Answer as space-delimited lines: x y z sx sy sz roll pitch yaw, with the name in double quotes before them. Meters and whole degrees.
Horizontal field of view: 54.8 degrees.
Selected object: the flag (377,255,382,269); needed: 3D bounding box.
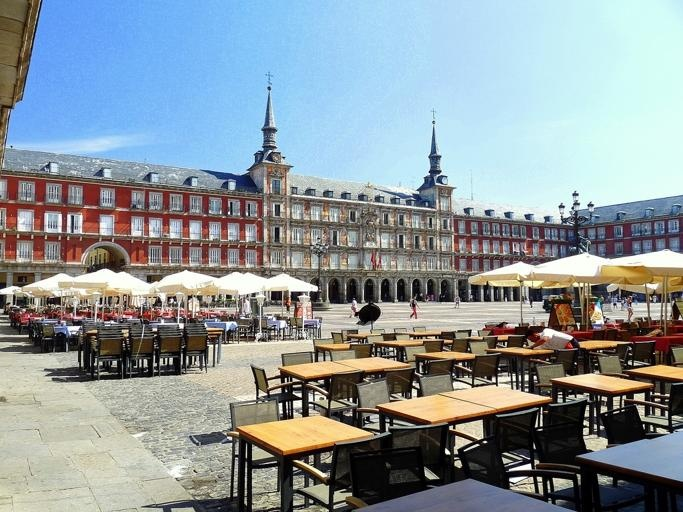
"flag" 4.051 0.655 69.380 0.235 1.442 0.811 -4 -7 29
